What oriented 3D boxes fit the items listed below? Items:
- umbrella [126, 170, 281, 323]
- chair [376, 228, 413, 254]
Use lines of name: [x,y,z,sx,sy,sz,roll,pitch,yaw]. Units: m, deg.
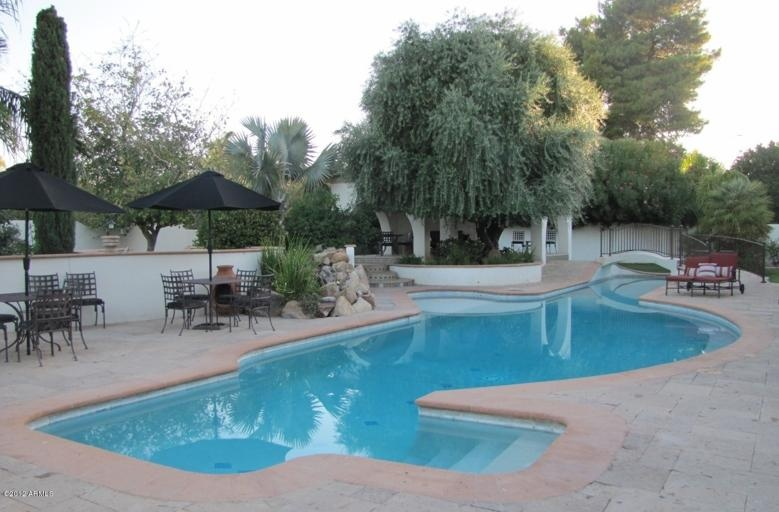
umbrella: [-4.780,-0.477,14.881,3.743,3.807,3.956,1,2,3]
chair: [0.321,-0.792,28.330,1.501,1.535,1.197,-2,1,5]
